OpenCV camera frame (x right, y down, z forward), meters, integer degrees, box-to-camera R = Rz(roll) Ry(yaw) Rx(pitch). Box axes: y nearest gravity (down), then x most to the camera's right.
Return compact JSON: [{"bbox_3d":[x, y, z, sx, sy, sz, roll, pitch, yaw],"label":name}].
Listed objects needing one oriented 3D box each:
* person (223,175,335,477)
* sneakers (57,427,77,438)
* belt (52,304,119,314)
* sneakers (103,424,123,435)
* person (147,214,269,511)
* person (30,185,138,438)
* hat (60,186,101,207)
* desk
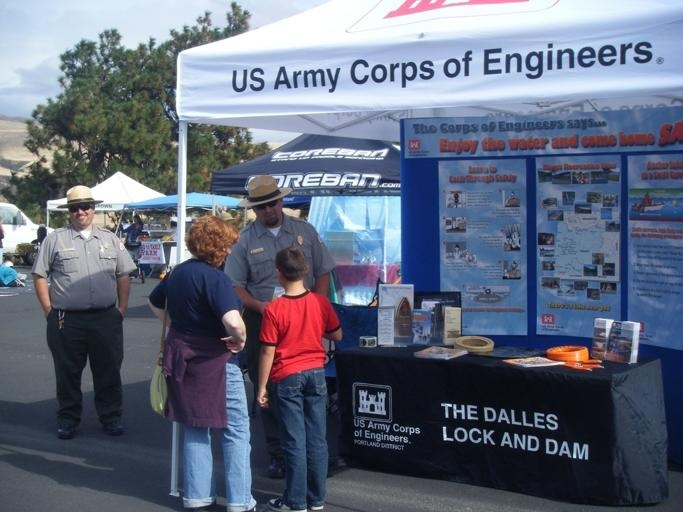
[{"bbox_3d":[-0.430,0.628,6.290,0.990,2.577,0.791,-10,10,-12],"label":"person"},{"bbox_3d":[-2.566,1.636,6.982,0.074,0.087,0.199,2,4,-3],"label":"sneakers"},{"bbox_3d":[-2.426,0.503,7.064,0.575,0.077,0.072,-1,5,-24],"label":"belt"},{"bbox_3d":[-2.161,1.631,7.055,0.182,0.089,0.081,4,1,29],"label":"sneakers"},{"bbox_3d":[-0.992,0.806,5.440,0.772,2.203,0.302,2,5,17],"label":"person"},{"bbox_3d":[-2.438,0.694,7.106,0.896,1.937,0.470,-1,5,-17],"label":"person"},{"bbox_3d":[-2.518,-0.572,7.192,0.297,0.210,0.383,-1,6,-21],"label":"hat"},{"bbox_3d":[1.213,1.263,5.724,2.427,1.002,0.335,3,5,18],"label":"desk"}]
